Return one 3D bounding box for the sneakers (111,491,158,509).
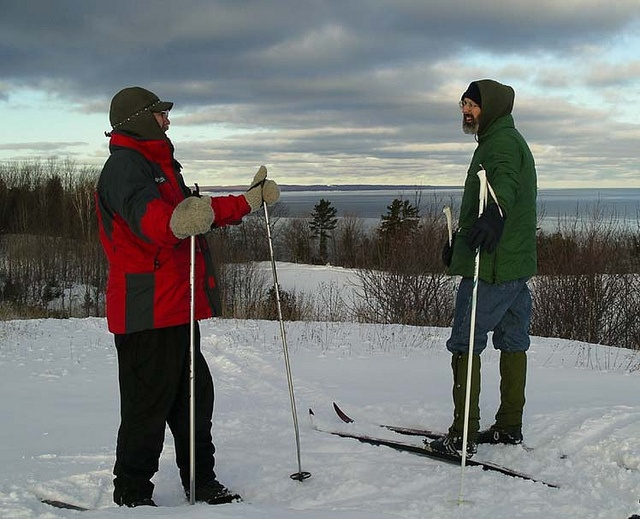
[{"bbox_3d":[-1.501,1.938,6.308,0.363,0.170,0.141,3,6,-1],"label":"sneakers"}]

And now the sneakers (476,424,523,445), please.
[{"bbox_3d":[1.678,1.646,7.366,0.484,0.243,0.171,2,-7,19],"label":"sneakers"}]

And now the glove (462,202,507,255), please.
[{"bbox_3d":[1.415,-0.258,6.600,0.250,0.427,0.125,19,9,23],"label":"glove"}]

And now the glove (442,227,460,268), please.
[{"bbox_3d":[1.215,-0.098,7.390,0.081,0.305,0.215,11,7,23],"label":"glove"}]

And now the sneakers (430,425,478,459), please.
[{"bbox_3d":[1.203,1.667,7.165,0.440,0.234,0.180,9,-2,24],"label":"sneakers"}]

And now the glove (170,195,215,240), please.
[{"bbox_3d":[-1.023,-0.328,6.176,0.344,0.331,0.275,-3,6,-11],"label":"glove"}]

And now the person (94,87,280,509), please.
[{"bbox_3d":[-1.217,0.301,6.488,1.212,3.449,0.999,-7,7,-38],"label":"person"}]

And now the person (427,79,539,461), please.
[{"bbox_3d":[1.521,0.067,7.073,0.836,3.389,0.973,0,6,17],"label":"person"}]
